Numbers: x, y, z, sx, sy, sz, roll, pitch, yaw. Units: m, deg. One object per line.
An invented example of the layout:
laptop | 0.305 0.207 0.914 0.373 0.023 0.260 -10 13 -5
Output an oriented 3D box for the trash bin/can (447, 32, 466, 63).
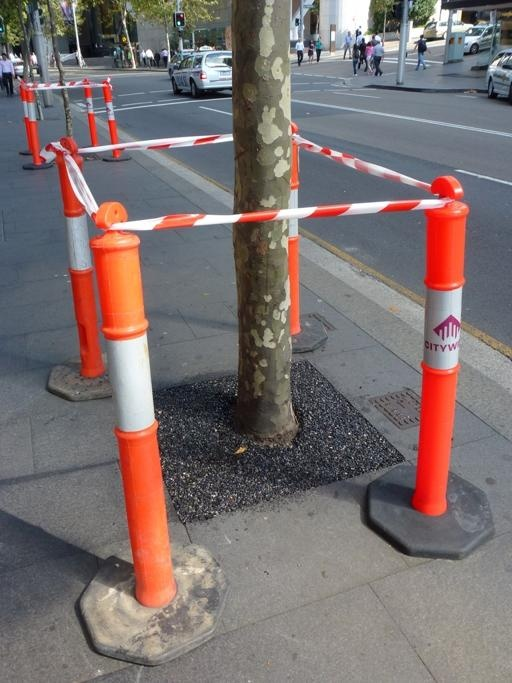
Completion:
trash bin/can | 11.482 -16.897 34.656 1.076 1.584 0.872 -5 24 -4
